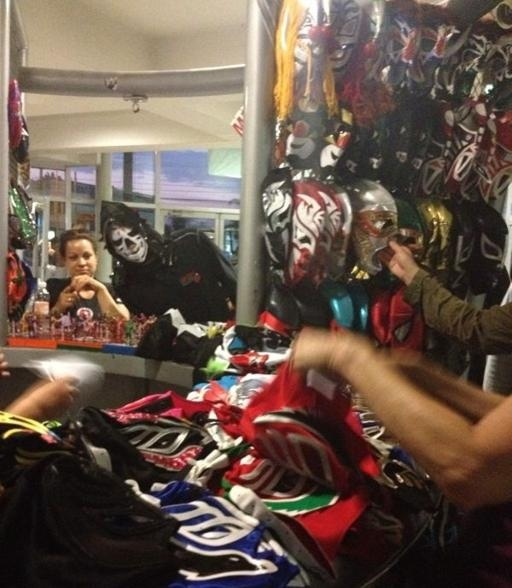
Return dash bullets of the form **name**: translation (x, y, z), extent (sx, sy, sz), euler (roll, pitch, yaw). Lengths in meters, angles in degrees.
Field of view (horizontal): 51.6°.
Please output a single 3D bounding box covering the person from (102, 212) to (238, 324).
- **person**: translation (-0.501, -0.135, 2.802), extent (0.948, 0.533, 0.408), euler (9, 7, -43)
